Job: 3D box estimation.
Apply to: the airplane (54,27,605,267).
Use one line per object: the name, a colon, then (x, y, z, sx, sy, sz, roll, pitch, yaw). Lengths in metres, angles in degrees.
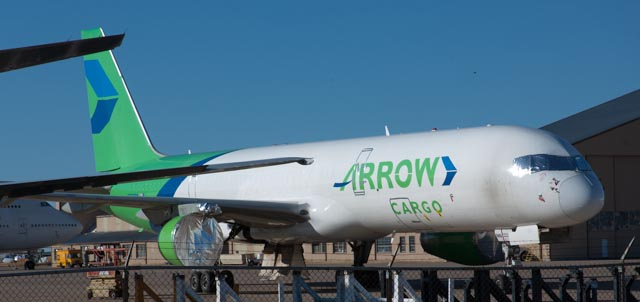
airplane: (0.925, 1.993, 60.504, 26.461, 9.373, 23.898, -2, -2, 31)

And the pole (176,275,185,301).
pole: (-7.936, 7.641, 53.015, 0.571, 1.407, 0.388, 6, -15, -7)

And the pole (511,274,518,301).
pole: (11.146, 7.857, 54.441, 0.345, 1.476, 0.786, 0, -15, 17)
